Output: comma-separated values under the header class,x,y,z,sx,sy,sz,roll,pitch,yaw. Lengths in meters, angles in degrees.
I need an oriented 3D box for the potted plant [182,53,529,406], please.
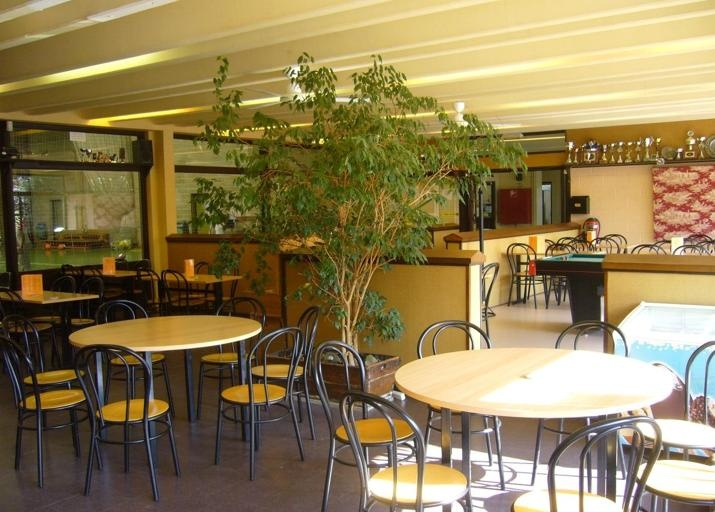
class,x,y,z,sx,sy,sz,roll,pitch,yaw
potted plant,-0.112,-0.325,4.994,1.453,1.892,1.901,3,-12,-36
